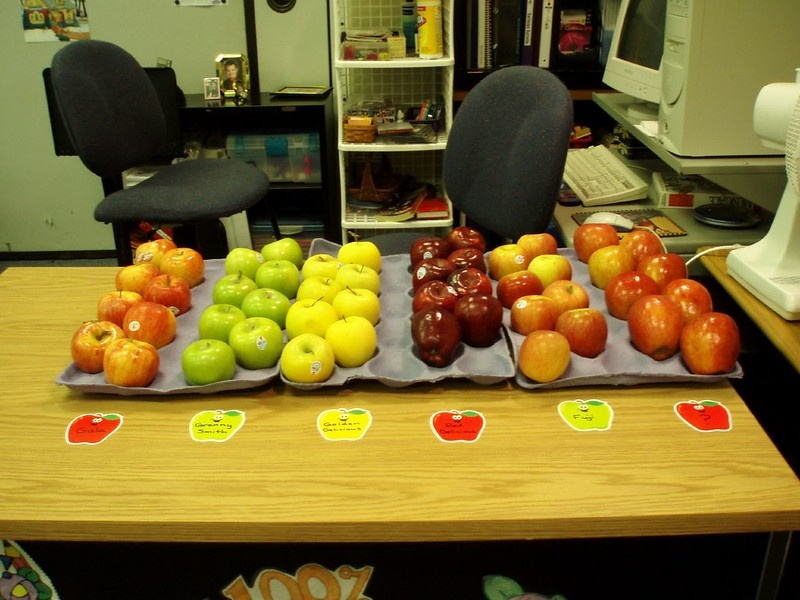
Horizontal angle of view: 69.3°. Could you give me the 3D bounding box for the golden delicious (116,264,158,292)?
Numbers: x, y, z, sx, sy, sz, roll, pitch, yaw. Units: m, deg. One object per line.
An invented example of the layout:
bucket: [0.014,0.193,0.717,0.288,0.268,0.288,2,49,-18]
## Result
golden delicious: [-0.558,-0.045,1.227,0.067,0.061,0.065,-1,6,-6]

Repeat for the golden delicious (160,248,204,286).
golden delicious: [-0.474,-0.076,1.280,0.088,0.086,0.085,-11,26,-24]

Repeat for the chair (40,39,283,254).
chair: [-1.041,-0.752,2.666,0.685,1.041,0.646,12,42,6]

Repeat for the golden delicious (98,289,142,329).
golden delicious: [-0.543,0.013,1.164,0.073,0.086,0.073,1,18,-3]

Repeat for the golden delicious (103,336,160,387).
golden delicious: [-0.463,0.112,0.991,0.084,0.081,0.082,12,12,-27]

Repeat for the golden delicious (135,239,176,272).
golden delicious: [-0.582,-0.105,1.349,0.080,0.078,0.081,-1,5,0]

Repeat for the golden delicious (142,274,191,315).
golden delicious: [-0.470,-0.012,1.173,0.085,0.084,0.083,-1,20,-9]
